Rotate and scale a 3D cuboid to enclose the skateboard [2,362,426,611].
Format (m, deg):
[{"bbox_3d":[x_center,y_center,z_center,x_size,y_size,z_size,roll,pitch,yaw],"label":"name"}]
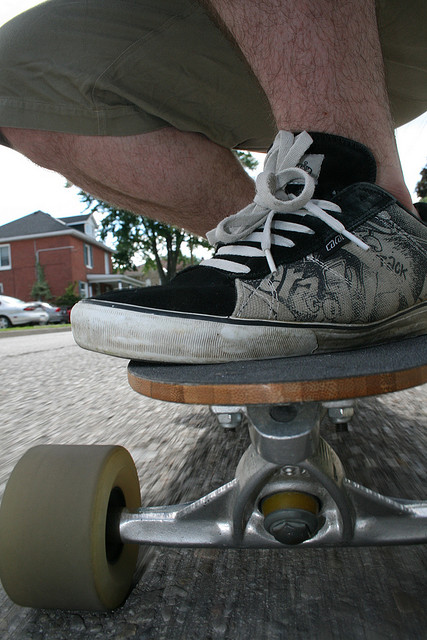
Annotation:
[{"bbox_3d":[0.003,0.181,0.559,0.404,0.202,0.294,-1,0,7],"label":"skateboard"}]

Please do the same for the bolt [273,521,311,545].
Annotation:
[{"bbox_3d":[0.083,0.215,0.454,0.024,0.011,0.032,12,-16,-22],"label":"bolt"}]

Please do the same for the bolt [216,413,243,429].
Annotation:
[{"bbox_3d":[0.022,0.136,0.609,0.030,0.019,0.023,3,-7,11],"label":"bolt"}]

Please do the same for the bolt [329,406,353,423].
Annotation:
[{"bbox_3d":[0.164,0.119,0.569,0.026,0.022,0.021,3,4,30],"label":"bolt"}]

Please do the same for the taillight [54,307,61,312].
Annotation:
[{"bbox_3d":[-5.992,-0.409,16.928,0.170,0.191,0.486,-2,4,-35],"label":"taillight"}]

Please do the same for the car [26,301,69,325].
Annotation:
[{"bbox_3d":[-6.523,-0.255,17.006,1.993,0.647,0.891,2,-1,-8],"label":"car"}]
